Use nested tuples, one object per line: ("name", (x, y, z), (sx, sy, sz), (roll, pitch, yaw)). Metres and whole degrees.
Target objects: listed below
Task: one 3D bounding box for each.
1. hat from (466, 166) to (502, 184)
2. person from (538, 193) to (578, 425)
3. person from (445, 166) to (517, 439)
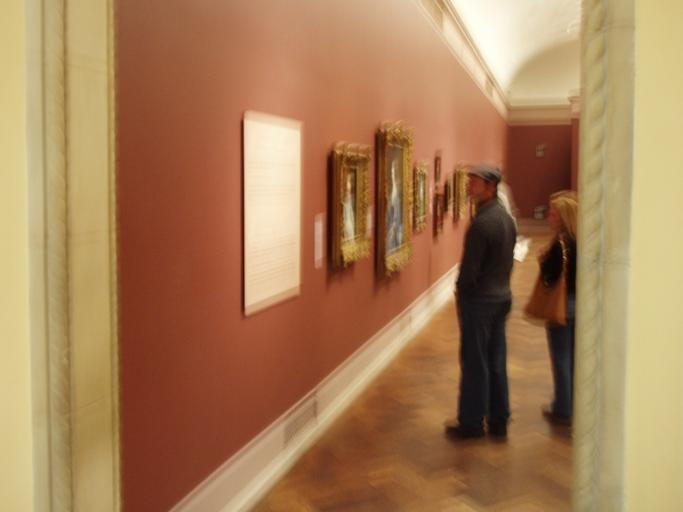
("hat", (1.239, -0.731, 5.060), (0.168, 0.088, 0.193), (3, 12, -43))
("person", (1.921, 0.557, 5.165), (0.321, 2.250, 0.976), (3, 8, 23))
("person", (1.269, 0.443, 5.178), (0.587, 2.470, 0.438), (-2, 7, -11))
